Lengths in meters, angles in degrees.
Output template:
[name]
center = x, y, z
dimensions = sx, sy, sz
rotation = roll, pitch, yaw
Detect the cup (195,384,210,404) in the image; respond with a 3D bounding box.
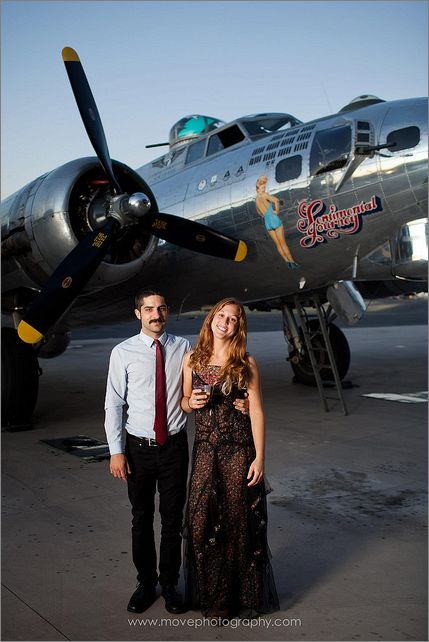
[cup]
center = -0.056, 0.359, 2.520
dimensions = 0.082, 0.091, 0.125
rotation = -2, 0, -2

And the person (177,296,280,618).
[person]
center = 0.069, 0.697, 2.667
dimensions = 0.493, 1.624, 0.405
rotation = -2, 0, -4

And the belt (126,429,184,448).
[belt]
center = -0.324, 0.655, 2.831
dimensions = 0.337, 0.084, 0.213
rotation = -2, 0, -7
